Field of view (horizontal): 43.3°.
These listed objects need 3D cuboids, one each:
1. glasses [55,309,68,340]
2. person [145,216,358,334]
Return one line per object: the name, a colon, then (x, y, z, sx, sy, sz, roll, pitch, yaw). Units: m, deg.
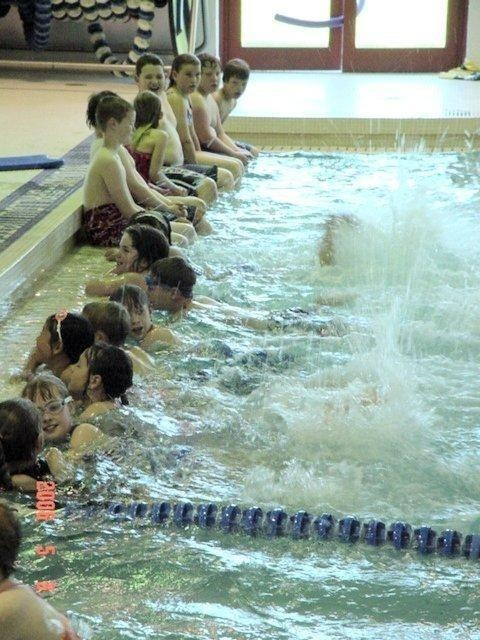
glasses: (-0.602, 0.017, 2.011, 0.045, 0.087, 0.016, 6, -21, -13)
person: (0.042, -0.075, 2.832, 0.984, 0.366, 0.260, 5, 1, -6)
